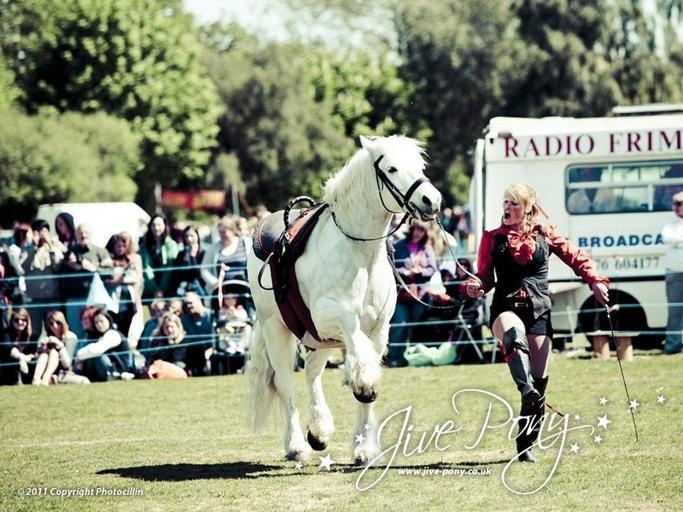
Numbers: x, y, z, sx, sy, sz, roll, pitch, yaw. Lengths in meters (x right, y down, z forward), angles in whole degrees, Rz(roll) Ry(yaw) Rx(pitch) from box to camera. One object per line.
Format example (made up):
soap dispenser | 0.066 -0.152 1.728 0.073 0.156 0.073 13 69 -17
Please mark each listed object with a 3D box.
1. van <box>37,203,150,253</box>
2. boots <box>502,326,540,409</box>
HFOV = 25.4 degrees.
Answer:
van | -4.364 -0.676 27.143 0.966 0.904 1.795 10 12 42
boots | 2.470 1.570 20.980 0.494 0.970 0.281 -2 -1 5
